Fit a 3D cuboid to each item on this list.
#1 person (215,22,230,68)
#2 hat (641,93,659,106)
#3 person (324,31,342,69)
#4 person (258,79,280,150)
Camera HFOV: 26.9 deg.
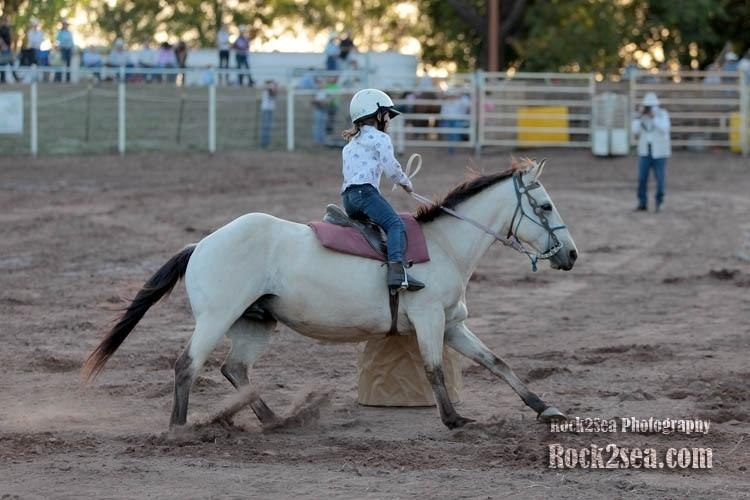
[{"bbox_3d":[-4.316,-5.715,44.631,0.391,1.211,1.091,-5,10,-4],"label":"person"},{"bbox_3d":[5.869,-3.143,33.251,0.420,0.339,0.573,1,-1,3],"label":"hat"},{"bbox_3d":[-1.243,-5.618,45.021,0.462,1.049,1.024,-4,9,-2],"label":"person"},{"bbox_3d":[-3.019,-3.723,44.074,0.635,1.856,0.822,-5,10,-3],"label":"person"}]
